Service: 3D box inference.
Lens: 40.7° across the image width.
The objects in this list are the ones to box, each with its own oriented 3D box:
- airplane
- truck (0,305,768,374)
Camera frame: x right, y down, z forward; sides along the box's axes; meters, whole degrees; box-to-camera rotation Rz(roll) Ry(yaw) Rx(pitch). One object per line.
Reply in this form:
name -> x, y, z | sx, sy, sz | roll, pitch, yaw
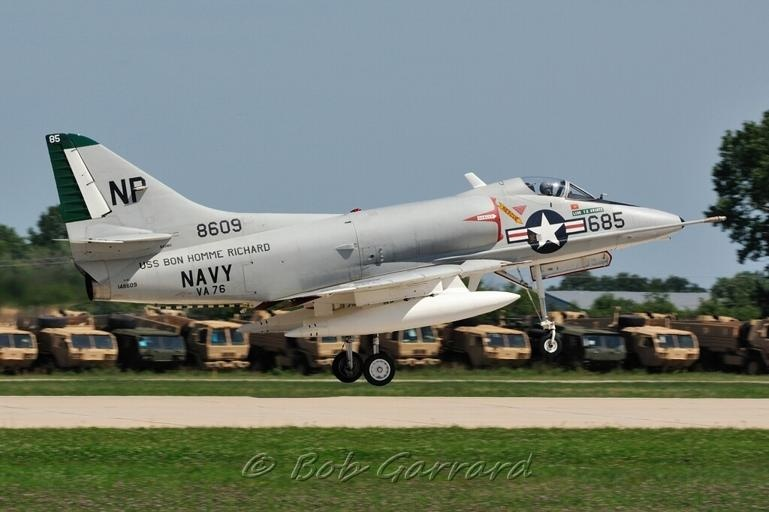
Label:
airplane -> -0.165, -0.124, 29.082 | 17.242, 3.229, 8.974 | -1, 1, -7
truck -> 0.595, 3.047, 35.663 | 24.585, 3.801, 2.003 | 1, -12, -10
